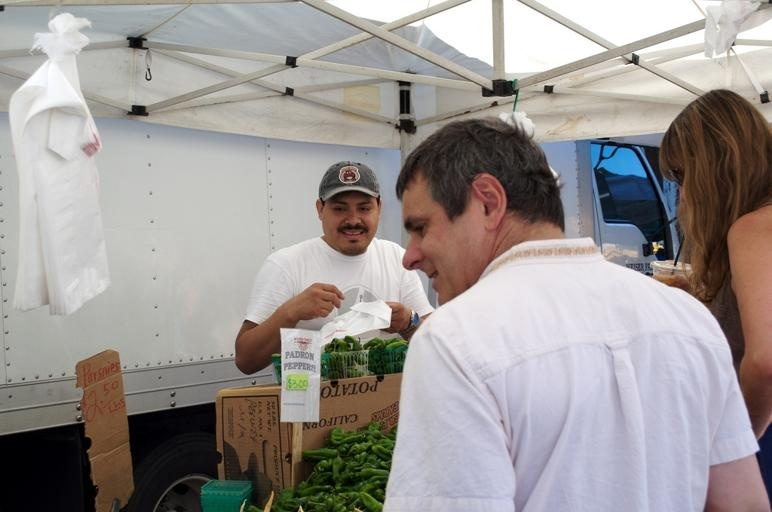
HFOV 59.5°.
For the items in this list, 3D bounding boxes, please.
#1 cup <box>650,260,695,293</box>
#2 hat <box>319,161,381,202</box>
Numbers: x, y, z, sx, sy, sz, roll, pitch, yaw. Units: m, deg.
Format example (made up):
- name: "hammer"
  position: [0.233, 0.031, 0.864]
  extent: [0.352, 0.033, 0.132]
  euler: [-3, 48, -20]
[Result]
- name: "cup"
  position: [1.766, 0.123, 4.106]
  extent: [0.147, 0.173, 0.193]
  euler: [5, 7, 19]
- name: "hat"
  position: [-0.298, -0.560, 5.120]
  extent: [0.385, 0.308, 0.550]
  euler: [1, -2, -4]
